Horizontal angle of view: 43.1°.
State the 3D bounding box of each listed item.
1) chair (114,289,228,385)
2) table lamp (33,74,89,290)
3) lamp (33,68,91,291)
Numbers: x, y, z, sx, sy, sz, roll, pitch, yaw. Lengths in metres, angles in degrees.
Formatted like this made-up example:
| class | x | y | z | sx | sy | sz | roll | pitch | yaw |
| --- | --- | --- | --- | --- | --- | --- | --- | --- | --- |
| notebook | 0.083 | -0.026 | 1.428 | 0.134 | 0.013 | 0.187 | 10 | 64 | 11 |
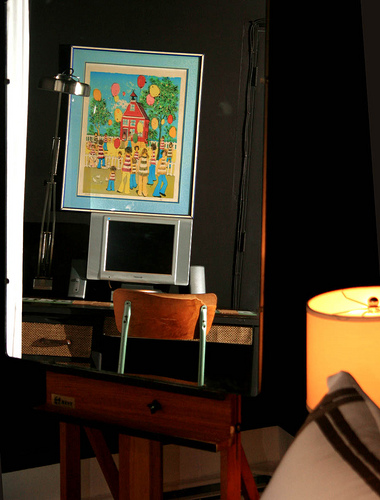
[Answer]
| class | x | y | z | sx | sy | sz | roll | pitch | yaw |
| --- | --- | --- | --- | --- | --- | --- | --- | --- | --- |
| chair | -0.048 | 0.195 | 1.479 | 0.252 | 0.404 | 0.247 | 2 | 1 | 10 |
| table lamp | -0.473 | -0.216 | 1.638 | 0.131 | 0.746 | 0.180 | 5 | -3 | -16 |
| lamp | -0.471 | -0.227 | 1.634 | 0.141 | 0.758 | 0.148 | 5 | 0 | 42 |
